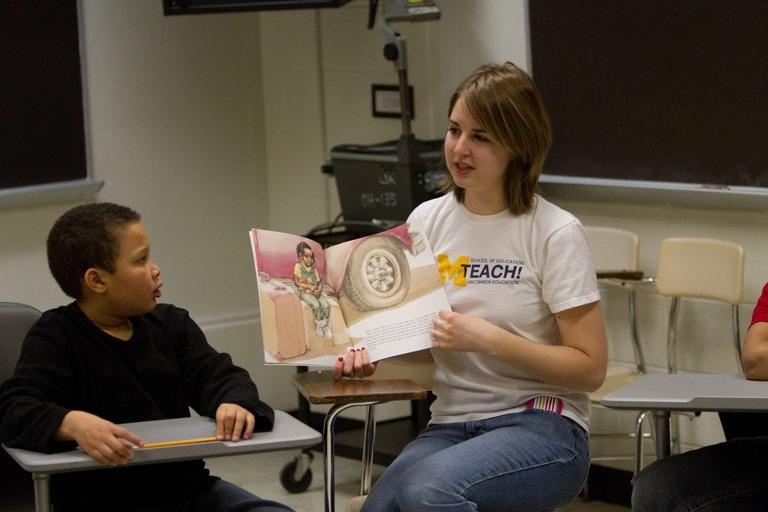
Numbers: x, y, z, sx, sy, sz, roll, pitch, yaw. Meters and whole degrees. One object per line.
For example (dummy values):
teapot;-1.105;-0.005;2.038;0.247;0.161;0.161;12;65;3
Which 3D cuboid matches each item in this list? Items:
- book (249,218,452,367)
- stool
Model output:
book;-0.121;0.124;1.914;0.565;0.396;0.229;-4;-23;-25
stool;-0.104;0.394;2.086;0.371;0.540;0.559;-1;4;-11
